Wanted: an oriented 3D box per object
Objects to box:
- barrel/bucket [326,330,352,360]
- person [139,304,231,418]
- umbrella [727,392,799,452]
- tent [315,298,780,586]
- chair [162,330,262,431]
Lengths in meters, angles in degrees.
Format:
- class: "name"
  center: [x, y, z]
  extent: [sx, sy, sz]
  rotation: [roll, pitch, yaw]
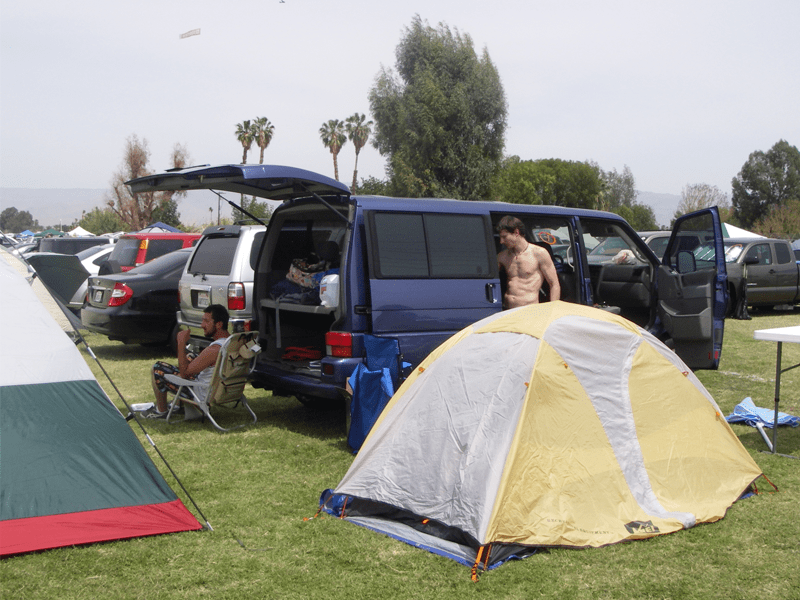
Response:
- class: "barrel/bucket"
  center: [-0.602, 0.396, 6.845]
  extent: [0.339, 0.318, 0.197]
  rotation: [3, 5, 45]
- class: "person"
  center: [-2.329, 0.651, 7.902]
  extent: [0.985, 1.311, 0.589]
  rotation: [6, 12, 0]
- class: "umbrella"
  center: [3.719, 1.264, 7.484]
  extent: [0.524, 0.178, 0.412]
  rotation: [5, 6, 38]
- class: "tent"
  center: [1.167, 0.935, 6.237]
  extent: [3.103, 1.712, 2.830]
  rotation: [-1, -1, -23]
- class: "chair"
  center: [-1.952, 0.790, 7.748]
  extent: [0.860, 1.035, 0.713]
  rotation: [6, 6, 16]
